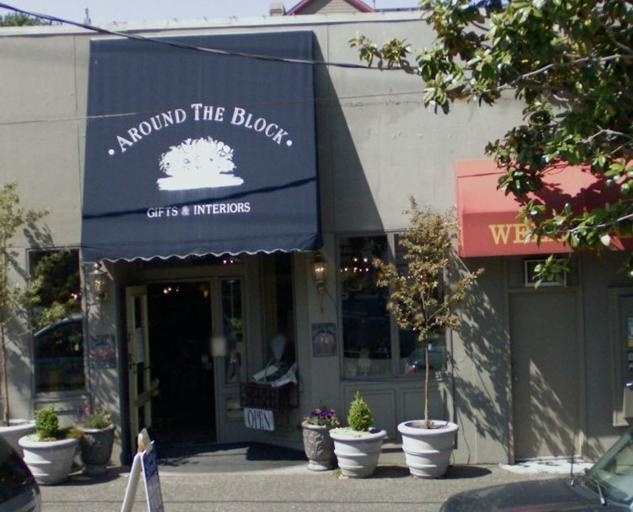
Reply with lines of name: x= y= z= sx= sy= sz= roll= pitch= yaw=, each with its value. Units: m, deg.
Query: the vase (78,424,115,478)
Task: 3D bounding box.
vase: x=-3.485 y=3.091 z=15.093 sx=0.642 sy=0.884 sz=0.625 roll=-3 pitch=-14 yaw=10

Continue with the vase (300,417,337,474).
vase: x=0.057 y=3.053 z=15.254 sx=0.641 sy=0.756 sz=0.644 roll=2 pitch=-4 yaw=-39

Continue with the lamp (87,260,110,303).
lamp: x=-3.565 y=0.443 z=15.678 sx=0.359 sy=0.660 sz=0.286 roll=-4 pitch=8 yaw=-13

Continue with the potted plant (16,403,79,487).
potted plant: x=-4.203 y=2.949 z=14.926 sx=0.897 sy=1.179 sz=1.018 roll=-4 pitch=3 yaw=-20

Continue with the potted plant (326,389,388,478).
potted plant: x=0.634 y=2.819 z=14.679 sx=0.841 sy=1.199 sz=0.454 roll=-2 pitch=8 yaw=0

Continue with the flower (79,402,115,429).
flower: x=-3.549 y=2.570 z=15.309 sx=0.345 sy=0.245 sz=0.351 roll=1 pitch=4 yaw=-3

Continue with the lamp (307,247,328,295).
lamp: x=0.060 y=0.274 z=15.582 sx=0.240 sy=0.705 sz=0.264 roll=3 pitch=9 yaw=30

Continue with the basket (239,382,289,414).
basket: x=-0.893 y=2.396 z=16.106 sx=0.695 sy=0.453 sz=0.353 roll=2 pitch=1 yaw=24

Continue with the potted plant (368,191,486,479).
potted plant: x=1.761 y=1.217 z=15.062 sx=1.437 sy=4.262 sz=1.695 roll=0 pitch=8 yaw=10
